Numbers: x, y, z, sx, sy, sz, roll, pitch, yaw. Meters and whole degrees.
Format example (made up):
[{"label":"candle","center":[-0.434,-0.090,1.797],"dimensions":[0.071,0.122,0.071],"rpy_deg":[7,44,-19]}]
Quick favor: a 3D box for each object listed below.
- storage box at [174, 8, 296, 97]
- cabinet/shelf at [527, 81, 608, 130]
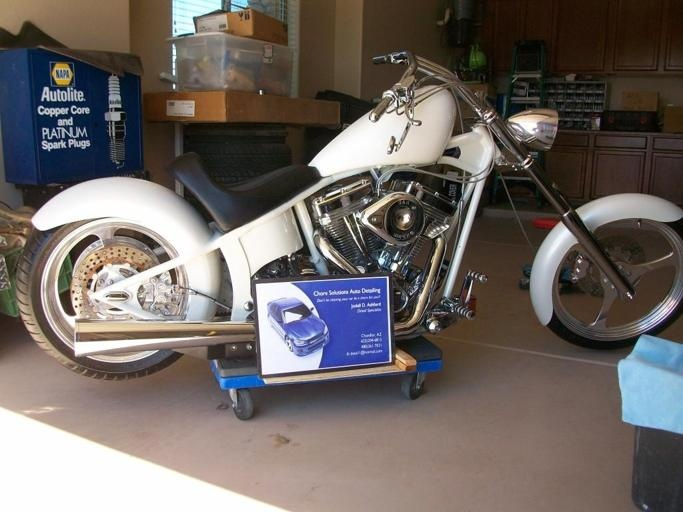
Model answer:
[{"label":"storage box","center":[-0.652,-1.227,3.363],"dimensions":[0.746,0.459,0.498],"rpy_deg":[-12,17,-43]},{"label":"cabinet/shelf","center":[2.959,-1.979,6.722],"dimensions":[0.892,0.644,0.330],"rpy_deg":[16,34,38]}]
